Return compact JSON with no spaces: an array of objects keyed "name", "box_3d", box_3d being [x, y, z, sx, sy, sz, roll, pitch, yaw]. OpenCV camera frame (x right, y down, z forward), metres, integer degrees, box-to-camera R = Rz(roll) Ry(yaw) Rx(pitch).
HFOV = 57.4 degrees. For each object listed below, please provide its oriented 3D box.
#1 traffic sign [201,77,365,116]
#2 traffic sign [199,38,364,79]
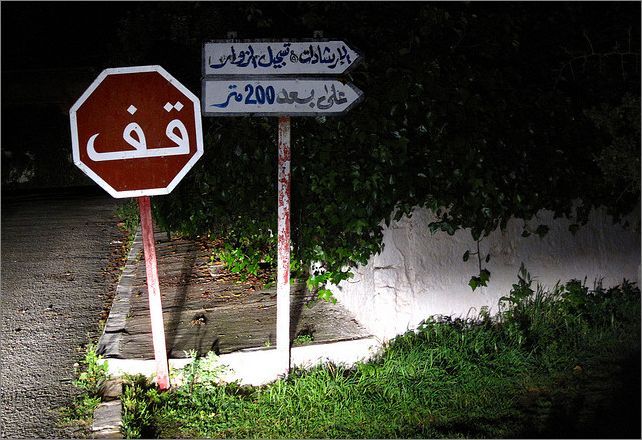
[{"name":"traffic sign","box_3d":[-0.414,-1.363,6.492,1.750,0.552,0.051,0,-24,0]},{"name":"traffic sign","box_3d":[-0.451,-1.782,6.438,1.682,0.388,0.054,-2,11,0]}]
